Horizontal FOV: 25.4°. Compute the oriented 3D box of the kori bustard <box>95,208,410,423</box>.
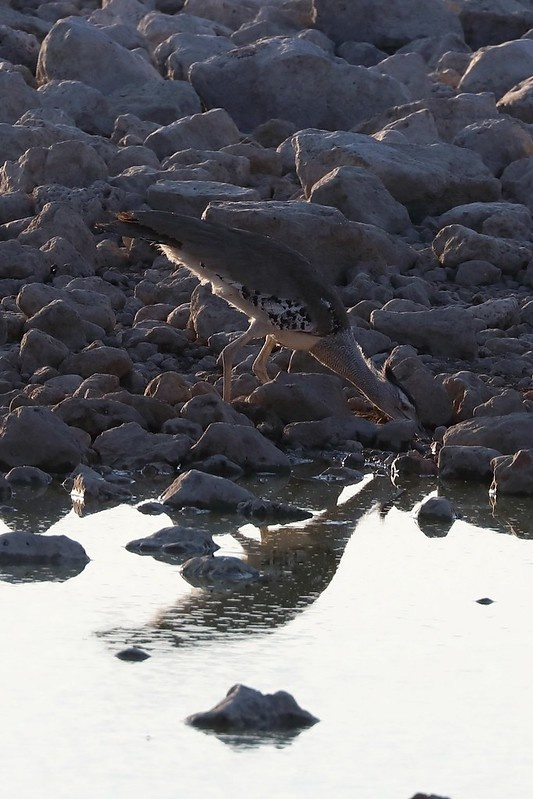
[{"bbox_3d":[-0.076,-0.538,8.067,2.277,1.161,0.483,28,37,-10],"label":"kori bustard"}]
